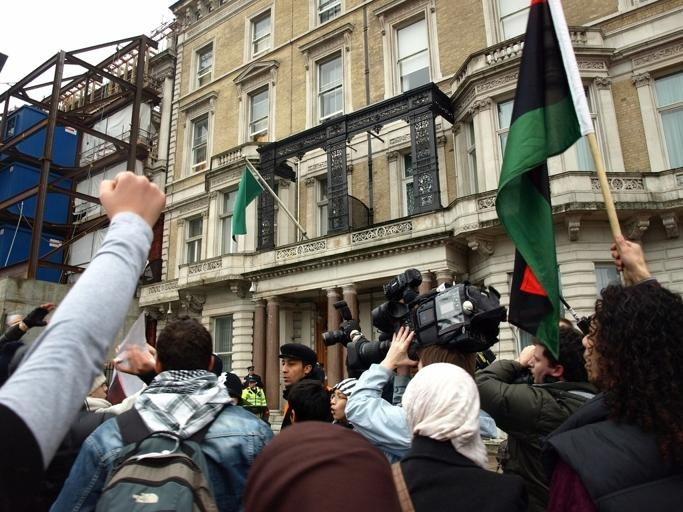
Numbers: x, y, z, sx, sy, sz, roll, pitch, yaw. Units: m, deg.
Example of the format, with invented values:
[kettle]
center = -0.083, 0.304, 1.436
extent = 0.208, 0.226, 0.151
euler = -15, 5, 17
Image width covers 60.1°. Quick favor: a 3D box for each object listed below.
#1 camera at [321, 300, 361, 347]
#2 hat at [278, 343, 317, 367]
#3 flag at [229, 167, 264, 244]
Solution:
[camera]
center = -0.016, 0.573, 4.825
extent = 0.349, 0.350, 0.184
euler = -16, 17, 5
[hat]
center = -0.424, 0.999, 6.016
extent = 0.306, 0.112, 0.264
euler = 19, -23, -25
[flag]
center = -2.737, -1.439, 17.344
extent = 0.811, 2.311, 1.775
euler = -1, -11, -8
